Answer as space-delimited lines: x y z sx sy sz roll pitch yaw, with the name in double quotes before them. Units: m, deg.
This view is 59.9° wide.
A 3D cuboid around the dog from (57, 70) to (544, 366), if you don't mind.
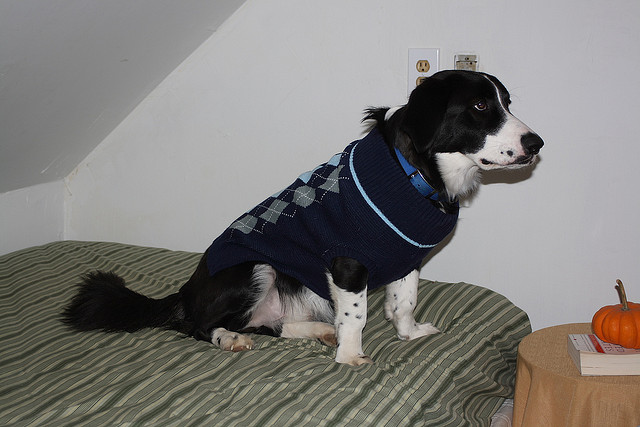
"dog" -0.012 -0.016 3.395 2.745 1.660 1.131 -1 2 18
